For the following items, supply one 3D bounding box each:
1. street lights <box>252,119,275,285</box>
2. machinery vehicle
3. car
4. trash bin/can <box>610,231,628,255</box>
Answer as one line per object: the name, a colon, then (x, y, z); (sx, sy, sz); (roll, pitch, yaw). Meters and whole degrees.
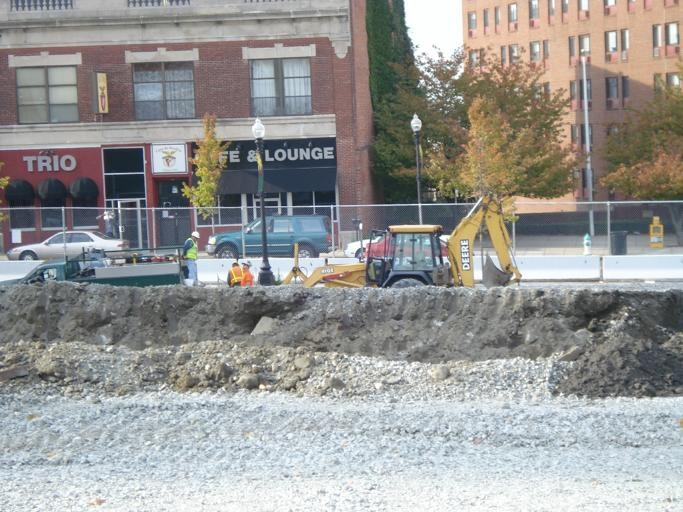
street lights: (-3.534, -2.065, 67.573); (0.940, 7.703, 0.839); (-2, 6, 36)
machinery vehicle: (2.711, -0.015, 58.513); (8.251, 4.328, 2.660); (1, 0, 10)
car: (-12.266, -0.381, 67.189); (5.079, 1.294, 2.250); (-3, 0, 32)
trash bin/can: (11.631, -0.396, 63.197); (0.837, 1.250, 0.845); (0, -4, 6)
